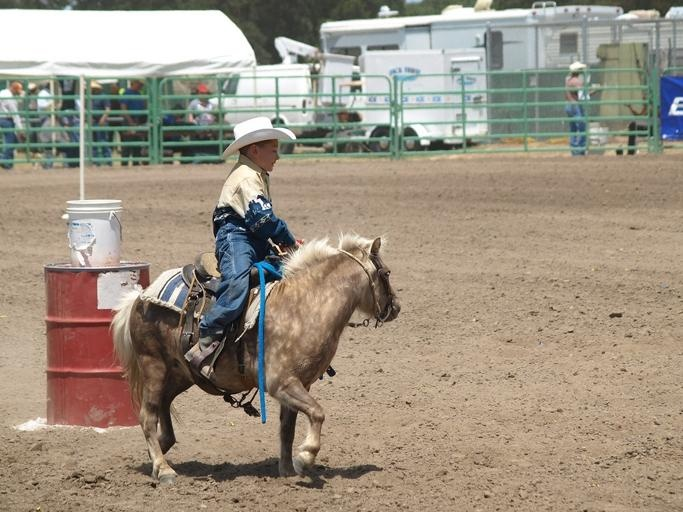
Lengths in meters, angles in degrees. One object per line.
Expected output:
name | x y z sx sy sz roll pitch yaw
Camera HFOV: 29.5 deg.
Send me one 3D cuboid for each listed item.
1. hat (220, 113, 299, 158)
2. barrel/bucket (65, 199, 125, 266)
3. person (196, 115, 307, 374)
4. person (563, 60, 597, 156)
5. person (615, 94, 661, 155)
hat | -0.949 -1.441 14.901 0.641 0.263 0.522 -22 5 -8
barrel/bucket | -3.001 -0.363 15.996 0.643 0.830 0.588 0 15 0
person | -1.134 -0.121 14.808 1.327 2.949 0.564 -4 6 -15
person | 5.339 -3.351 29.178 0.573 2.066 1.188 -2 6 10
person | 6.748 -2.963 29.447 0.562 1.244 0.716 -11 21 -26
